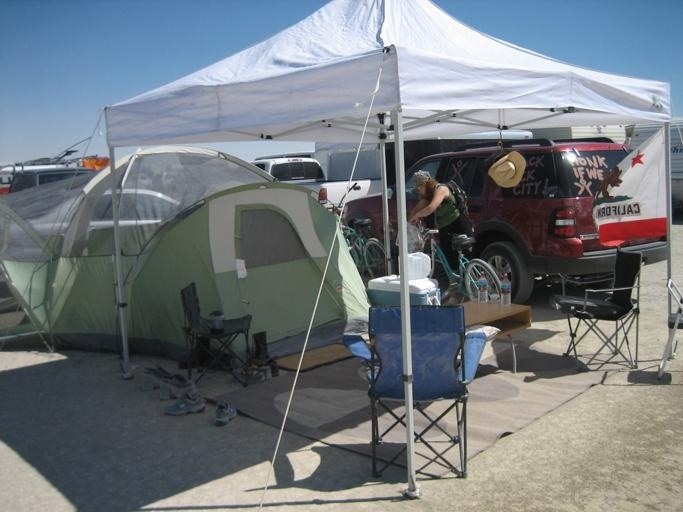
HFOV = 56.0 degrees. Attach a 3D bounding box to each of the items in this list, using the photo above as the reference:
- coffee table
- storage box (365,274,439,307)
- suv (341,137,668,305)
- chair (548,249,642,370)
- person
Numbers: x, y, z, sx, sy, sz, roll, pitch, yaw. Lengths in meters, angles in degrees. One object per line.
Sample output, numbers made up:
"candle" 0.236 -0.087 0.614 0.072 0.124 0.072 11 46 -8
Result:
"coffee table" 1.584 0.889 7.151 0.912 0.761 0.965 0 15 -20
"storage box" 0.684 0.377 7.091 0.760 0.350 0.456 11 18 43
"suv" 2.316 -0.808 9.658 3.933 2.214 4.545 -6 12 -29
"chair" 2.824 0.549 7.158 1.029 1.252 1.168 3 4 35
"person" 1.379 -0.466 9.044 0.846 1.524 0.523 -14 17 -4
